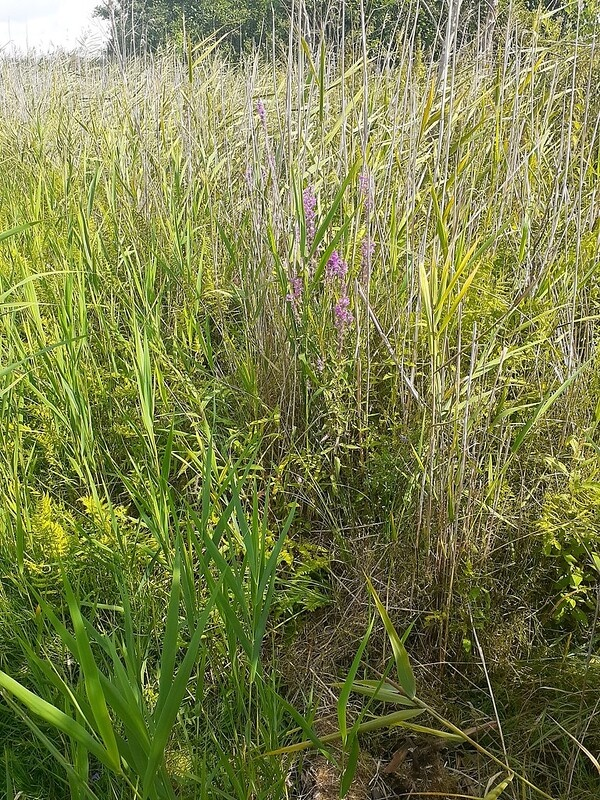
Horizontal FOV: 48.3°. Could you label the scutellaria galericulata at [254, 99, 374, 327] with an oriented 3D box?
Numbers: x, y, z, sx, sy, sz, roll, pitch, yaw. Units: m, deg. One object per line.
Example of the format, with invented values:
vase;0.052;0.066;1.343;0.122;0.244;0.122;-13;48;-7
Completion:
scutellaria galericulata;0.036;-0.395;1.487;0.223;0.489;0.571;-5;32;-2
